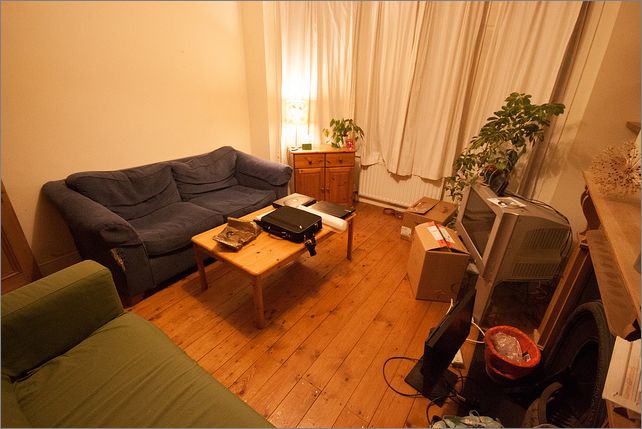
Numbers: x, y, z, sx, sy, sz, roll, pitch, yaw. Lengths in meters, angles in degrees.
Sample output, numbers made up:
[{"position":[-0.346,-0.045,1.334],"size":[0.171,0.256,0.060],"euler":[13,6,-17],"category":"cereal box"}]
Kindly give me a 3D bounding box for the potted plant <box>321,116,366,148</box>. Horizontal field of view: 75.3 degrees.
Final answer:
[{"position":[0.295,-1.043,5.337],"size":[0.515,0.400,0.401],"euler":[3,29,4],"category":"potted plant"}]

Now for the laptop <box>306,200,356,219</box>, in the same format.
[{"position":[0.110,-0.049,4.228],"size":[0.248,0.059,0.251],"euler":[17,24,31],"category":"laptop"}]

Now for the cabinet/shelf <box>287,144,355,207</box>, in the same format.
[{"position":[-0.101,-0.542,5.621],"size":[1.093,1.022,0.667],"euler":[-3,23,-8],"category":"cabinet/shelf"}]

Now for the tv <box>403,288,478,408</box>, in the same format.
[{"position":[0.856,1.017,3.130],"size":[0.354,0.888,0.611],"euler":[17,33,27],"category":"tv"}]
